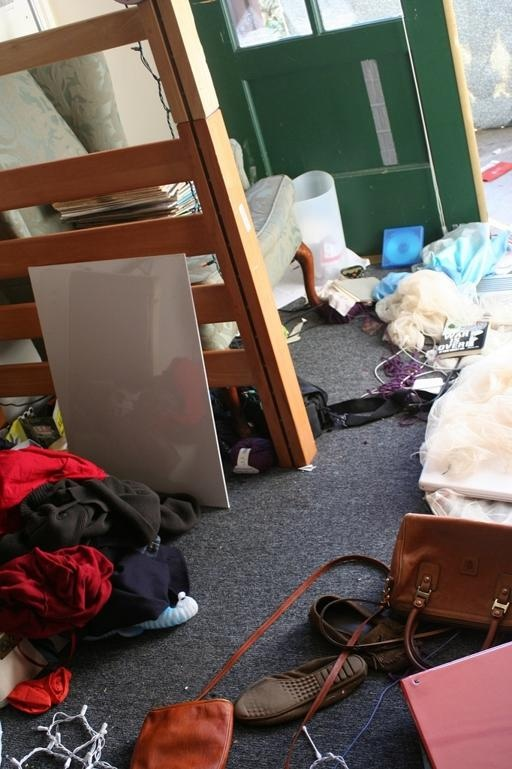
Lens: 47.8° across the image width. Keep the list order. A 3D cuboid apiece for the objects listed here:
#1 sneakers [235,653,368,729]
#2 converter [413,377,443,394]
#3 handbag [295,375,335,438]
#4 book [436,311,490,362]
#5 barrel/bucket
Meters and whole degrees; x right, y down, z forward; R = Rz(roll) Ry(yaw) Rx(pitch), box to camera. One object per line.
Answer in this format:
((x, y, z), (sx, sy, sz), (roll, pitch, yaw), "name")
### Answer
((0.081, 0.564, 1.042), (0.215, 0.036, 0.107), (-16, 17, 4), "sneakers")
((0.548, -0.001, 1.858), (0.069, 0.016, 0.069), (1, 24, 26), "converter")
((0.186, 0.070, 1.827), (0.048, 0.156, 0.117), (-14, 13, -12), "handbag")
((0.691, -0.152, 1.957), (0.164, 0.034, 0.163), (1, 42, 35), "book")
((0.279, -0.717, 2.612), (0.276, 0.475, 0.336), (-13, 43, 14), "barrel/bucket")
